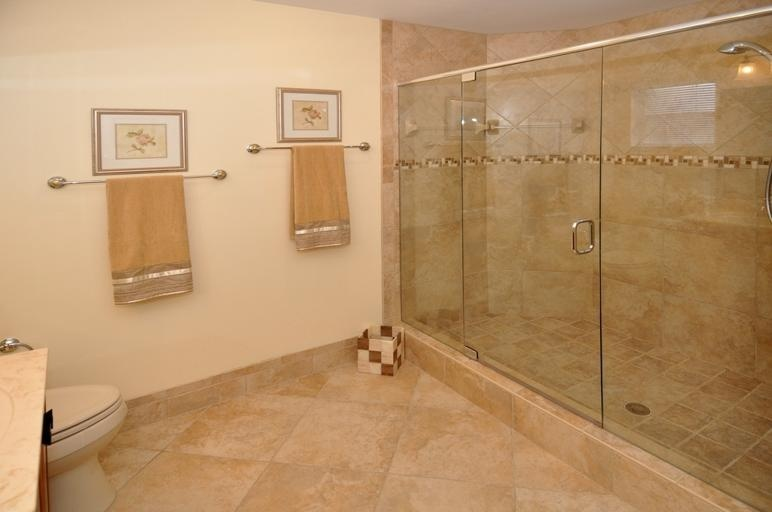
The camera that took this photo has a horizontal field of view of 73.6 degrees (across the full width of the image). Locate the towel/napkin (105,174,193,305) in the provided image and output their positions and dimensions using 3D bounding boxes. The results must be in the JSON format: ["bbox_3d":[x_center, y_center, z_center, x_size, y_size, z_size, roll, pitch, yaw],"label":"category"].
[{"bbox_3d":[-1.439,-0.117,3.108,0.539,0.717,0.188,-10,12,-36],"label":"towel/napkin"}]

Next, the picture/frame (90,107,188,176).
[{"bbox_3d":[-1.505,-0.697,3.106,0.472,0.321,0.022,-5,10,-35],"label":"picture/frame"}]

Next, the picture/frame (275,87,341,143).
[{"bbox_3d":[-0.561,-0.994,3.601,0.463,0.314,0.033,-4,8,-32],"label":"picture/frame"}]

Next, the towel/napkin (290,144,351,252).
[{"bbox_3d":[-0.443,-0.415,3.668,0.470,0.707,0.107,-2,5,23],"label":"towel/napkin"}]
